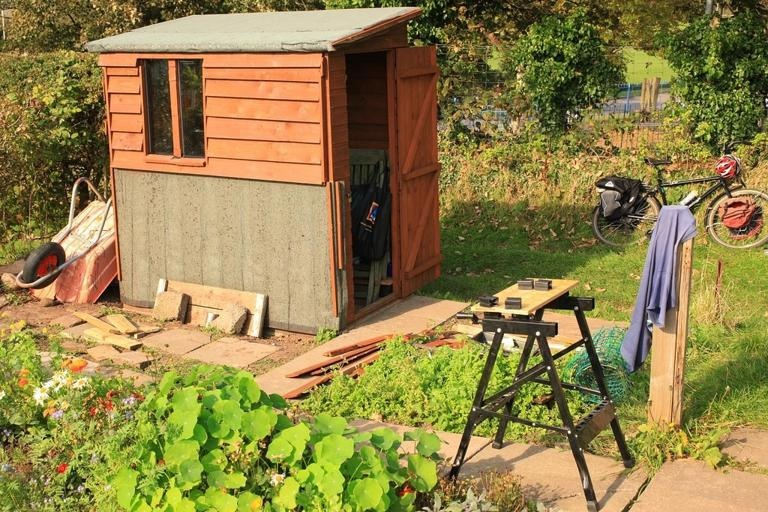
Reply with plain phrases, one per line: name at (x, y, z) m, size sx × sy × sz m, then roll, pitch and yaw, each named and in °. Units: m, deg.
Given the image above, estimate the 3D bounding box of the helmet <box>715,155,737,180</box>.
helmet at (6.319, -1.620, 13.397) m, size 0.316 × 0.430 × 0.233 m, roll 8°, pitch 4°, yaw 26°
